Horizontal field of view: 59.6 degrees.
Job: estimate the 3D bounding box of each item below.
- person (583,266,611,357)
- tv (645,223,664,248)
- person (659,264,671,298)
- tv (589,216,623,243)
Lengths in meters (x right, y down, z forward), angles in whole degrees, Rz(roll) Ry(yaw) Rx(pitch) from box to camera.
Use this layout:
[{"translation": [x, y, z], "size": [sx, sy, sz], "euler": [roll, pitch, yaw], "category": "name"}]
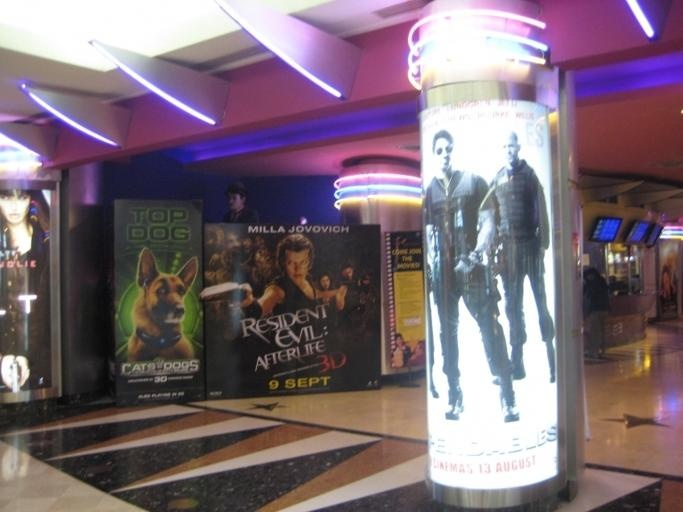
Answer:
[{"translation": [4.311, 0.932, 10.038], "size": [0.401, 1.428, 0.984], "euler": [0, 3, 23], "category": "person"}, {"translation": [7.614, -0.516, 14.413], "size": [0.150, 0.624, 0.643], "euler": [19, 17, 38], "category": "tv"}, {"translation": [8.622, 0.706, 15.743], "size": [0.162, 0.913, 0.648], "euler": [2, 4, 43], "category": "person"}, {"translation": [5.504, -0.537, 12.288], "size": [0.313, 0.559, 1.080], "euler": [2, 4, 43], "category": "tv"}]
